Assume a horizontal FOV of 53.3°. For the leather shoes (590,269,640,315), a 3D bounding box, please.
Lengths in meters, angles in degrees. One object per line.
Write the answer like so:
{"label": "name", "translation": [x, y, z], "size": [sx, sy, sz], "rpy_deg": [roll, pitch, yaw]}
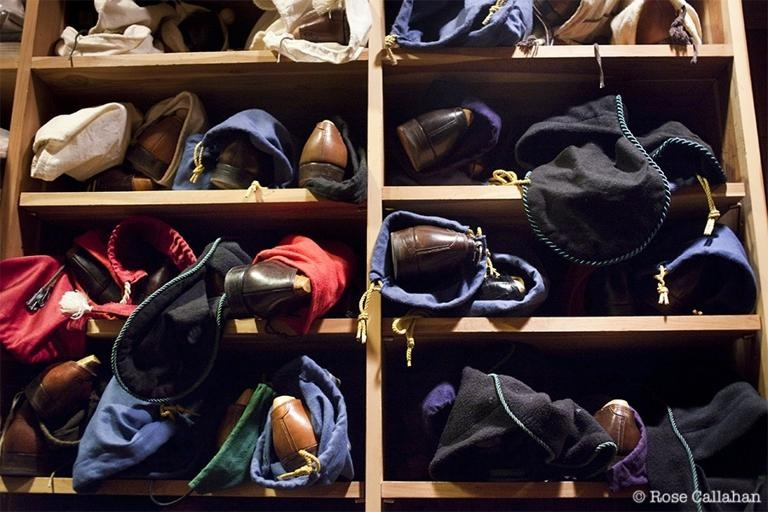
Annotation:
{"label": "leather shoes", "translation": [0.582, 0.102, 1.945], "size": [0.119, 0.102, 0.100], "rpy_deg": [6, 36, 14]}

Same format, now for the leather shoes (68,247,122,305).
{"label": "leather shoes", "translation": [-0.750, 0.058, 2.032], "size": [0.096, 0.047, 0.164], "rpy_deg": [-39, 83, -9]}

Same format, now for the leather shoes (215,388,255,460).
{"label": "leather shoes", "translation": [-0.358, 0.420, 1.893], "size": [0.045, 0.078, 0.145], "rpy_deg": [28, 60, -8]}

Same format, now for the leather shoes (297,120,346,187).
{"label": "leather shoes", "translation": [-0.147, -0.261, 1.945], "size": [0.112, 0.126, 0.174], "rpy_deg": [14, 38, 25]}

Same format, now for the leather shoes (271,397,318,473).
{"label": "leather shoes", "translation": [-0.191, 0.448, 1.882], "size": [0.106, 0.168, 0.165], "rpy_deg": [-19, 62, -8]}

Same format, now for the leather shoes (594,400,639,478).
{"label": "leather shoes", "translation": [0.581, 0.431, 1.901], "size": [0.094, 0.136, 0.142], "rpy_deg": [-3, -11, 19]}

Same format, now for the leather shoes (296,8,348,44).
{"label": "leather shoes", "translation": [-0.159, -0.596, 1.975], "size": [0.114, 0.047, 0.081], "rpy_deg": [0, 75, 7]}

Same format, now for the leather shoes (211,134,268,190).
{"label": "leather shoes", "translation": [-0.367, -0.236, 1.953], "size": [0.093, 0.100, 0.160], "rpy_deg": [14, -8, 1]}

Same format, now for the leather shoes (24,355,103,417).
{"label": "leather shoes", "translation": [-0.800, 0.330, 1.919], "size": [0.128, 0.092, 0.079], "rpy_deg": [-34, 9, 6]}

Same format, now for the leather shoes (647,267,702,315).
{"label": "leather shoes", "translation": [0.715, 0.089, 1.869], "size": [0.104, 0.126, 0.047], "rpy_deg": [8, 29, -2]}

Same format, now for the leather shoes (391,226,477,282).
{"label": "leather shoes", "translation": [0.113, -0.006, 1.814], "size": [0.198, 0.105, 0.114], "rpy_deg": [-2, -3, -2]}
